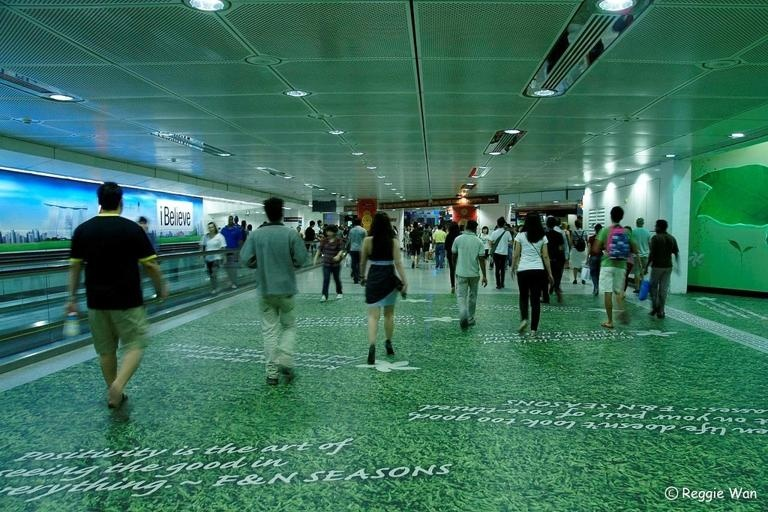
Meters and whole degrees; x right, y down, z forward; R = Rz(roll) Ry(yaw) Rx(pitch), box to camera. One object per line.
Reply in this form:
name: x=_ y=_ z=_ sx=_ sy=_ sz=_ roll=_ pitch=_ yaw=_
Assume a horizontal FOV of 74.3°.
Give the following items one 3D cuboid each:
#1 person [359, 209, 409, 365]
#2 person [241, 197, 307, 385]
person: x=-0.013 y=0.438 z=7.270 sx=0.614 sy=2.143 sz=0.992 roll=-2 pitch=14 yaw=-3
person: x=-1.398 y=0.430 z=6.666 sx=0.820 sy=2.334 sz=0.951 roll=-5 pitch=14 yaw=-17
